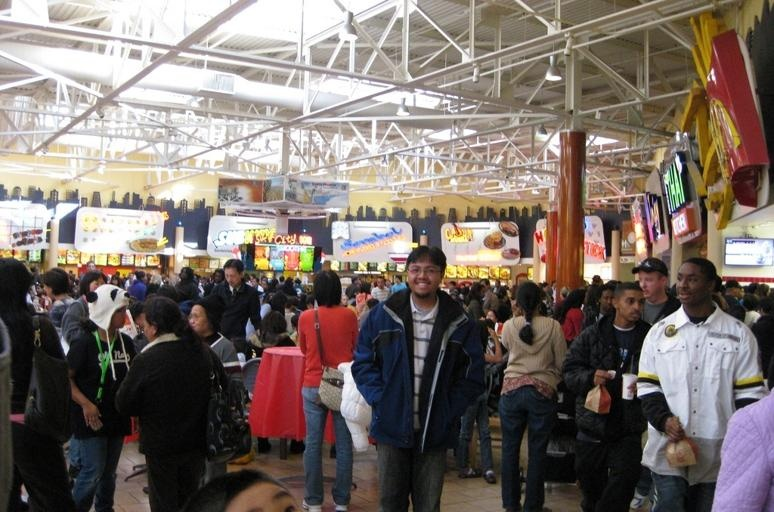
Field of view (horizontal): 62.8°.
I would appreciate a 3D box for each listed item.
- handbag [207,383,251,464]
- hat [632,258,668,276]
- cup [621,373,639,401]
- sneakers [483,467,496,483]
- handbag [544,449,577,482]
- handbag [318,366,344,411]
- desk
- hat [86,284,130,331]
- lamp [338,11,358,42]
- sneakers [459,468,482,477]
[{"bbox_3d":[-1.198,1.284,4.847,0.239,0.639,0.429,-1,-2,2],"label":"handbag"},{"bbox_3d":[2.320,0.098,5.535,0.266,0.141,0.186,16,-7,-2],"label":"hat"},{"bbox_3d":[1.847,0.994,4.833,0.163,0.185,0.169,3,6,0],"label":"cup"},{"bbox_3d":[1.119,2.383,6.862,0.078,0.084,0.182,0,-1,2],"label":"sneakers"},{"bbox_3d":[1.769,2.153,6.441,0.299,0.355,0.203,-1,-2,13],"label":"handbag"},{"bbox_3d":[-0.511,1.227,5.843,0.152,0.420,0.333,1,-2,-37],"label":"handbag"},{"bbox_3d":[-0.966,1.807,7.769,1.251,1.246,1.323,1,-7,-6],"label":"desk"},{"bbox_3d":[-2.235,0.409,5.164,0.324,0.371,0.327,-4,-2,-9],"label":"hat"},{"bbox_3d":[-0.660,-3.668,10.094,0.394,0.442,0.410,11,26,12],"label":"lamp"},{"bbox_3d":[0.939,2.389,7.047,0.206,0.095,0.108,-5,-4,-2],"label":"sneakers"}]
